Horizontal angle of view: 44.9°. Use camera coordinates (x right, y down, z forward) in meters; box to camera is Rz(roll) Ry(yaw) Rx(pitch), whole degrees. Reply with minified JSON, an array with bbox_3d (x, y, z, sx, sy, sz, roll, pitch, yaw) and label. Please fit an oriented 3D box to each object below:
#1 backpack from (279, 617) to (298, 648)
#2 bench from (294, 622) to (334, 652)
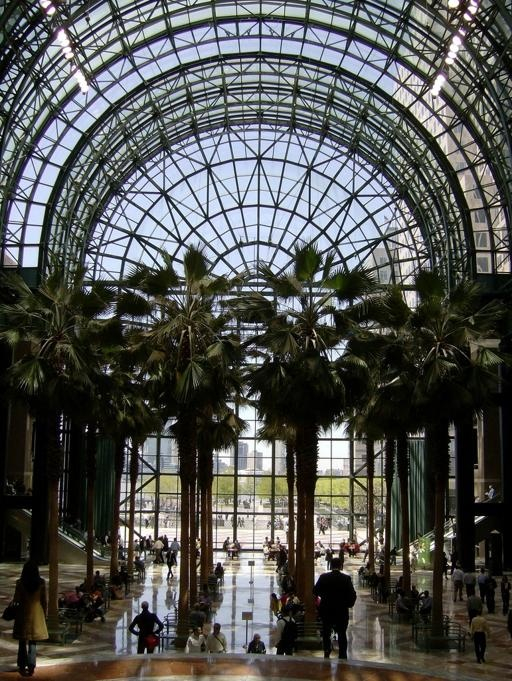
[{"bbox_3d":[0.584,5.266,11.148,0.235,0.590,0.419,-4,-15,18],"label":"backpack"},{"bbox_3d":[1.208,6.683,14.047,0.561,0.471,0.842,-1,-15,4],"label":"bench"}]
